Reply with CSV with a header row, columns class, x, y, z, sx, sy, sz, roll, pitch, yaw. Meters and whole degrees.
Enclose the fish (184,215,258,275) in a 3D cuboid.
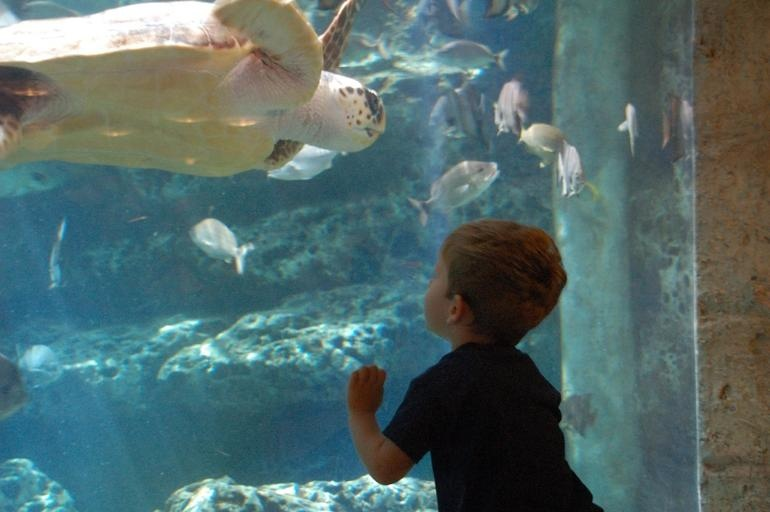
class,x,y,z,sx,sy,sz,roll,pitch,yaw
fish,-2.520,-0.211,12.884,1.249,0.610,0.425,24,23,31
